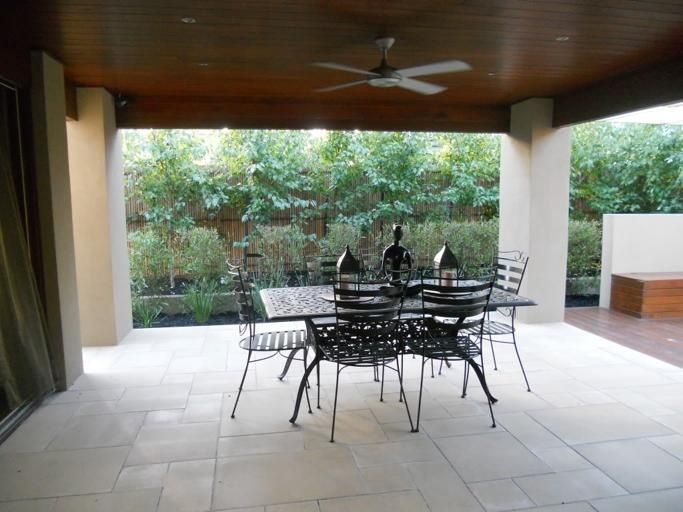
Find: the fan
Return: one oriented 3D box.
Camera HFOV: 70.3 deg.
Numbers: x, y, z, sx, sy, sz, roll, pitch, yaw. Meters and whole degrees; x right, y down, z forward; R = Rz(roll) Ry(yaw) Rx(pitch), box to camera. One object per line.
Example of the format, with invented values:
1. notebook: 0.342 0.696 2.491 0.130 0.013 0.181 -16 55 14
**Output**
1. fan: 0.408 -1.666 4.319 1.061 0.434 1.575 -1 11 -3
